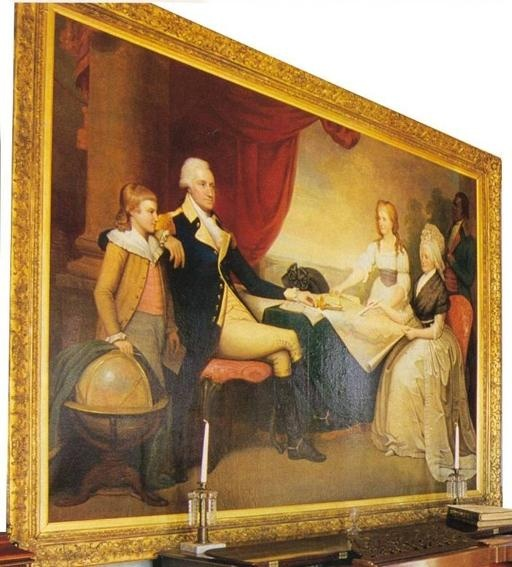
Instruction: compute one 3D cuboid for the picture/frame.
[{"bbox_3d":[-0.071,0.006,5.664,2.940,2.111,0.066,3,-5,-41],"label":"picture/frame"}]
